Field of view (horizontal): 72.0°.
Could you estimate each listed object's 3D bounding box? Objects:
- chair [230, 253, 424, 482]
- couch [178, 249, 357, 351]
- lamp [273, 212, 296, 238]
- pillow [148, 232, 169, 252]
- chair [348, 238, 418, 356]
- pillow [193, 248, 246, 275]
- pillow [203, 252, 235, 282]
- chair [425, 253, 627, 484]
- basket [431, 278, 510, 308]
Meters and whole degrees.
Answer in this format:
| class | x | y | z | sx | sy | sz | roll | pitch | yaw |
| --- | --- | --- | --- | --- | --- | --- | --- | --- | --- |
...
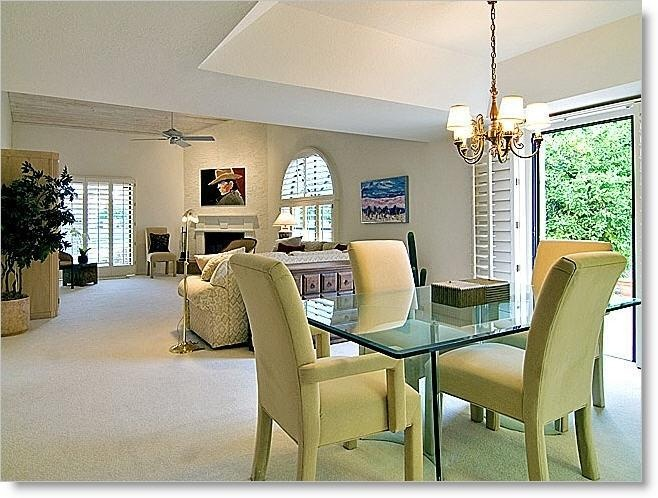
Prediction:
| class | x | y | z | sx | sy | sz | roll | pitch | yaw |
| --- | --- | --- | --- | --- | --- | --- | --- | --- | --- |
| chair | -0.083 | 0.546 | 2.883 | 1.115 | 1.608 | 1.094 | -1 | 2 | -27 |
| couch | -0.982 | 0.506 | 4.995 | 1.229 | 0.855 | 1.201 | 0 | 1 | -31 |
| lamp | -0.842 | -0.483 | 8.890 | 0.369 | 0.568 | 1.406 | -7 | 7 | -4 |
| pillow | -3.826 | -0.163 | 10.190 | 0.486 | 0.446 | 0.479 | -10 | 8 | -22 |
| chair | 0.494 | 0.332 | 3.269 | 0.518 | 0.849 | 0.551 | -4 | -6 | -27 |
| pillow | -1.242 | 0.091 | 5.145 | 0.442 | 0.137 | 0.450 | -3 | 0 | -35 |
| pillow | -1.210 | 0.224 | 4.853 | 0.358 | 0.133 | 0.414 | -26 | 2 | 1 |
| chair | 1.088 | 0.645 | 2.564 | 0.646 | 1.231 | 0.862 | -4 | 4 | -41 |
| basket | 0.931 | 0.279 | 2.903 | 0.342 | 0.116 | 0.227 | -3 | 3 | -33 |
